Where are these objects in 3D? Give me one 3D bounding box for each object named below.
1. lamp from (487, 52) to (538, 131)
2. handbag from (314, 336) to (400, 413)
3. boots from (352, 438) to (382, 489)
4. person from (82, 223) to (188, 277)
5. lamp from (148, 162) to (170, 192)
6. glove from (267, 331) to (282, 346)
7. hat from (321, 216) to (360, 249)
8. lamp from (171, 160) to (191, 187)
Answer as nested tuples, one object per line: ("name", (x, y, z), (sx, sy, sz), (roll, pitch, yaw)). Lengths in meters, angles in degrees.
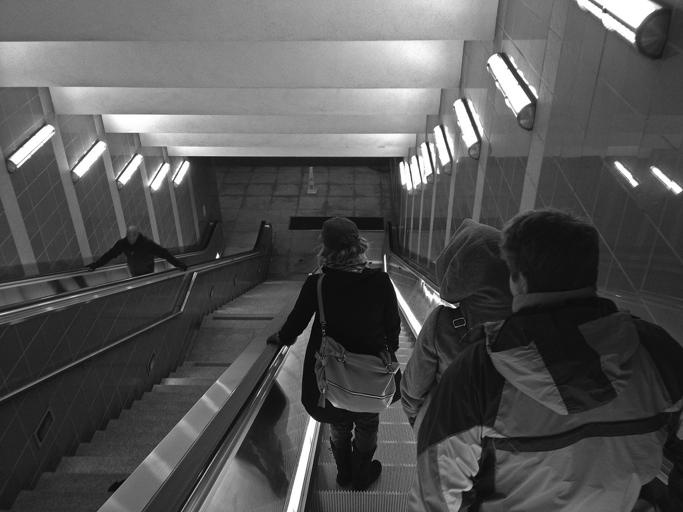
("lamp", (1.440, -1.452, 3.860), (0.234, 0.929, 0.542), (3, -12, 1))
("handbag", (0.061, 0.572, 2.256), (0.349, 0.308, 0.161), (4, 3, -4))
("boots", (0.129, 1.091, 2.438), (0.109, 0.262, 0.254), (7, -48, 17))
("person", (-3.278, -0.111, 7.224), (1.158, 0.351, 1.274), (-2, -39, -14))
("lamp", (-4.189, -1.842, 10.573), (0.144, 0.932, 0.220), (-13, -53, 19))
("glove", (-0.354, 0.434, 2.438), (0.048, 0.032, 0.084), (-4, 28, -13))
("hat", (-0.004, -0.117, 2.364), (0.129, 0.150, 0.190), (-13, 23, 9))
("lamp", (-4.169, -2.176, 11.921), (0.127, 0.666, 0.377), (29, 5, 21))
